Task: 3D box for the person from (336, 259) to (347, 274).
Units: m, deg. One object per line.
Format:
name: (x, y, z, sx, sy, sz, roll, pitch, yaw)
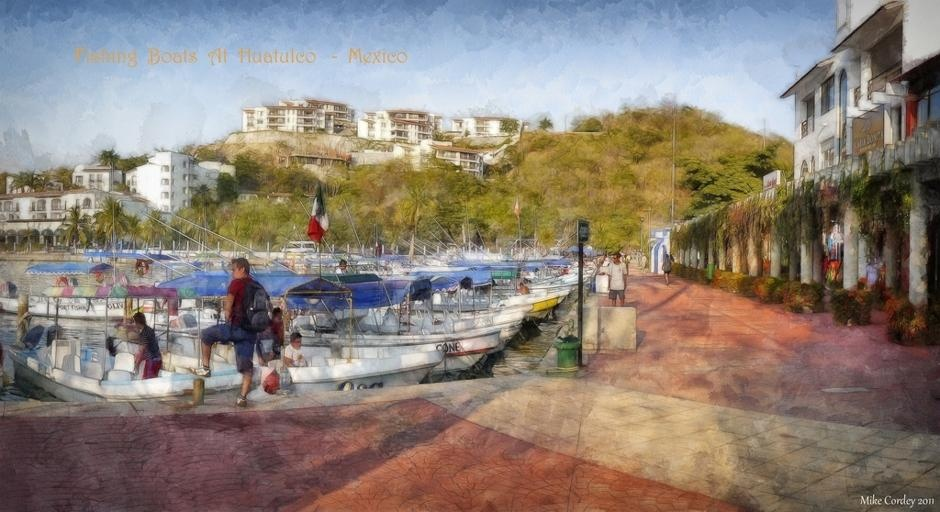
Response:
person: (-7.444, 0.614, 51.151, 0.890, 0.852, 0.334, -2, 1, 19)
